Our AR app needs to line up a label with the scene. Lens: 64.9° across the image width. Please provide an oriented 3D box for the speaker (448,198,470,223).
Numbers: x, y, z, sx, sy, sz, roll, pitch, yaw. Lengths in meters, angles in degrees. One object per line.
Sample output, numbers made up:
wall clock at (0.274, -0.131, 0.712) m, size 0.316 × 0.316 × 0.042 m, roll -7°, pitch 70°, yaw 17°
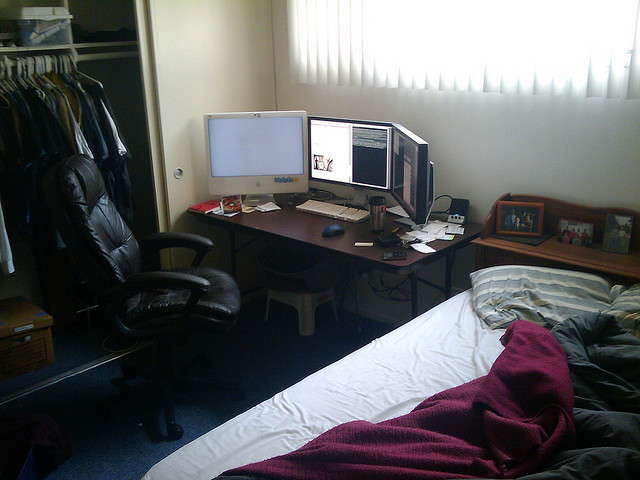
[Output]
speaker at (0.821, -0.173, 2.955) m, size 0.114 × 0.167 × 0.089 m, roll 4°, pitch -23°, yaw 34°

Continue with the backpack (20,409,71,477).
backpack at (-1.316, 0.968, 2.413) m, size 0.259 × 0.102 × 0.202 m, roll 45°, pitch 43°, yaw 3°

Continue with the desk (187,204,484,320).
desk at (0.118, 0.110, 3.013) m, size 0.697 × 0.367 × 1.406 m, roll -16°, pitch 25°, yaw -43°

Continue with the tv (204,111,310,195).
tv at (-0.424, -0.587, 3.303) m, size 0.525 × 0.413 × 0.083 m, roll -2°, pitch 17°, yaw -1°

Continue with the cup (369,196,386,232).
cup at (0.324, -0.153, 2.864) m, size 0.089 × 0.190 × 0.101 m, roll 2°, pitch 21°, yaw 8°

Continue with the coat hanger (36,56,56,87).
coat hanger at (-1.648, -1.009, 3.009) m, size 0.029 × 0.047 × 0.263 m, roll -27°, pitch 63°, yaw -12°

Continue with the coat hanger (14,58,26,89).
coat hanger at (-1.741, -0.986, 2.888) m, size 0.019 × 0.146 × 0.136 m, roll -25°, pitch 64°, yaw -36°

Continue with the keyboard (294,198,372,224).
keyboard at (0.079, -0.187, 3.172) m, size 0.512 × 0.047 × 0.193 m, roll 18°, pitch 28°, yaw 38°

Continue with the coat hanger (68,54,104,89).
coat hanger at (-1.467, -1.054, 3.194) m, size 0.222 × 0.226 × 0.059 m, roll 20°, pitch 32°, yaw 27°

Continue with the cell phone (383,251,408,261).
cell phone at (0.381, 0.077, 2.544) m, size 0.065 × 0.016 × 0.060 m, roll -5°, pitch 14°, yaw -29°

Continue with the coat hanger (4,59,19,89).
coat hanger at (-1.770, -0.946, 2.867) m, size 0.012 × 0.160 × 0.145 m, roll -12°, pitch 22°, yaw -30°

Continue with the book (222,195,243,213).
book at (-0.570, -0.233, 3.240) m, size 0.106 × 0.079 × 0.015 m, roll -7°, pitch 11°, yaw -30°
